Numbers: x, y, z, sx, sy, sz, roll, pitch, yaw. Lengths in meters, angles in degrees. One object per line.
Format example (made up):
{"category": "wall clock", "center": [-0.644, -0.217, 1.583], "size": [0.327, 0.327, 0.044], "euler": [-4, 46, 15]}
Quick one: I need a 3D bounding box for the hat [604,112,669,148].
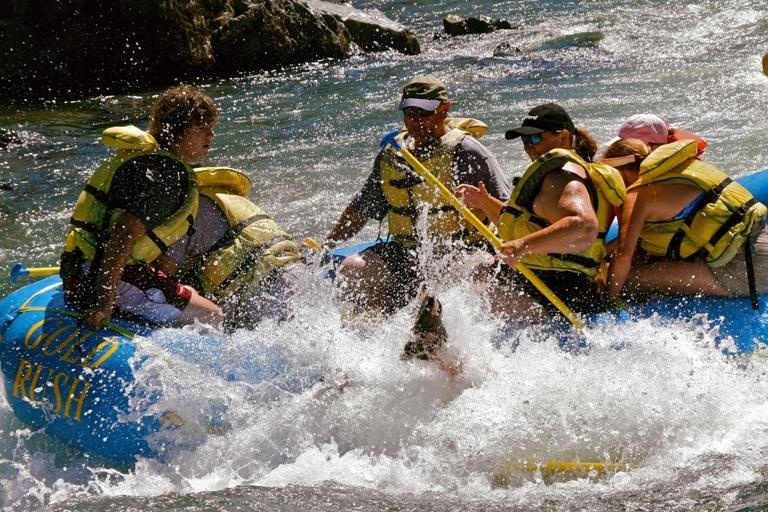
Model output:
{"category": "hat", "center": [2.499, -1.225, 10.576], "size": [0.488, 0.202, 0.305], "euler": [-3, 12, -4]}
